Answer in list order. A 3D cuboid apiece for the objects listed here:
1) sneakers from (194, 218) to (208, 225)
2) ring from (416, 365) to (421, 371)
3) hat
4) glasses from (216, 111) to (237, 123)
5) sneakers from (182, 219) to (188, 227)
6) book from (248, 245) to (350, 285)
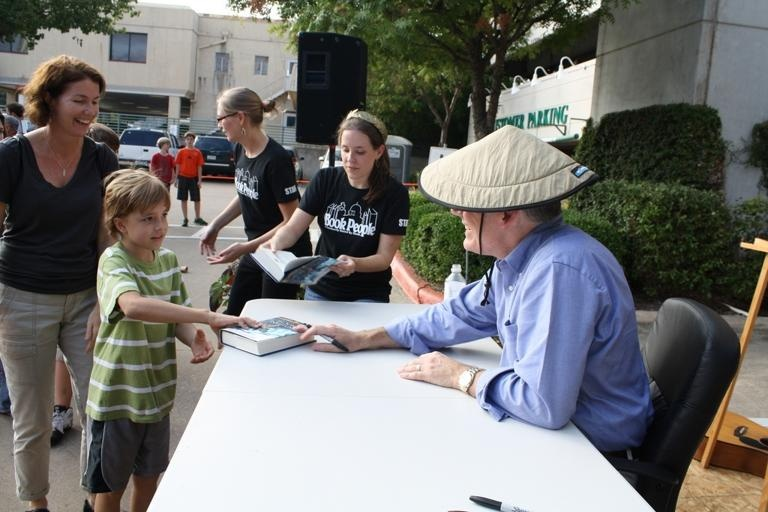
[{"bbox_3d":[-3.973,-0.748,13.144,0.282,0.128,0.096,9,27,-41],"label":"sneakers"},{"bbox_3d":[0.192,0.620,3.397,0.021,0.033,0.010,-2,-9,9],"label":"ring"},{"bbox_3d":[0.608,-0.411,3.121,0.610,0.228,0.514,1,19,16],"label":"hat"},{"bbox_3d":[-1.291,-1.127,4.941,0.221,0.080,0.096,13,13,41],"label":"glasses"},{"bbox_3d":[-4.204,-0.688,12.786,0.083,0.188,0.246,1,-7,1],"label":"sneakers"},{"bbox_3d":[-0.613,0.075,4.094,0.284,0.151,0.392,10,7,24],"label":"book"}]
